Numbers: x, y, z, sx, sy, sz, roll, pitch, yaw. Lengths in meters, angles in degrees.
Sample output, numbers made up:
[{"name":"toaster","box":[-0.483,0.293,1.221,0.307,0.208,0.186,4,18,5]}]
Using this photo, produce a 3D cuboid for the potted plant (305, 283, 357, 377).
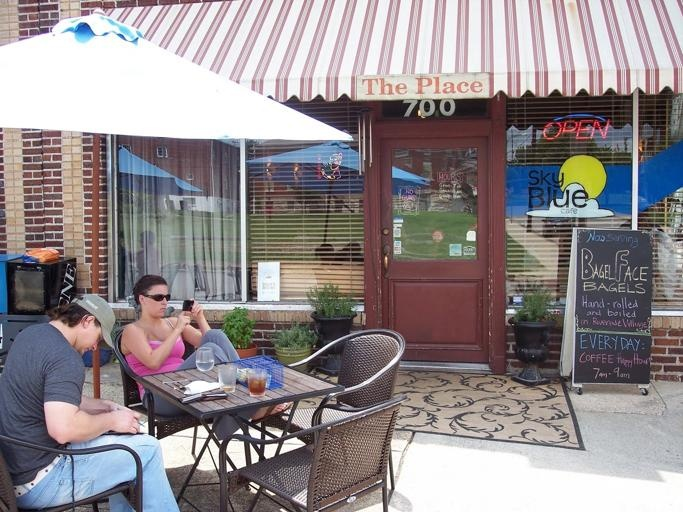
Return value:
[{"name":"potted plant","box":[-0.133,0.963,8.815,0.525,1.164,0.494,4,5,6]}]

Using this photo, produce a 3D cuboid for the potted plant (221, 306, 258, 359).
[{"name":"potted plant","box":[-1.146,0.954,8.696,0.506,0.872,0.531,-1,9,6]}]

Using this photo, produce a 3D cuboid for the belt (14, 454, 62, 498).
[{"name":"belt","box":[-2.025,1.489,4.638,0.309,0.241,0.036,-4,12,-21]}]

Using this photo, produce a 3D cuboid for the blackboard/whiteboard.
[{"name":"blackboard/whiteboard","box":[3.128,0.617,8.040,0.874,1.758,0.640,3,11,16]}]

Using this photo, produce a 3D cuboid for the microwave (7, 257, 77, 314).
[{"name":"microwave","box":[-3.759,0.371,8.564,0.524,0.614,0.504,4,8,-5]}]

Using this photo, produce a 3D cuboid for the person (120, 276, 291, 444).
[{"name":"person","box":[-1.185,0.826,6.237,1.056,1.604,1.190,12,8,34]}]

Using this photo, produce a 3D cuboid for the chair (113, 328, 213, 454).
[{"name":"chair","box":[-1.539,1.264,6.110,0.639,1.099,0.700,10,8,39]}]

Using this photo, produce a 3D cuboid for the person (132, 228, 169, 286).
[{"name":"person","box":[-2.669,0.002,9.710,0.411,0.816,0.403,1,7,2]}]

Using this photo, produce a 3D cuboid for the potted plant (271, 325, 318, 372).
[{"name":"potted plant","box":[-0.589,1.086,8.769,0.446,0.619,0.433,5,8,32]}]
